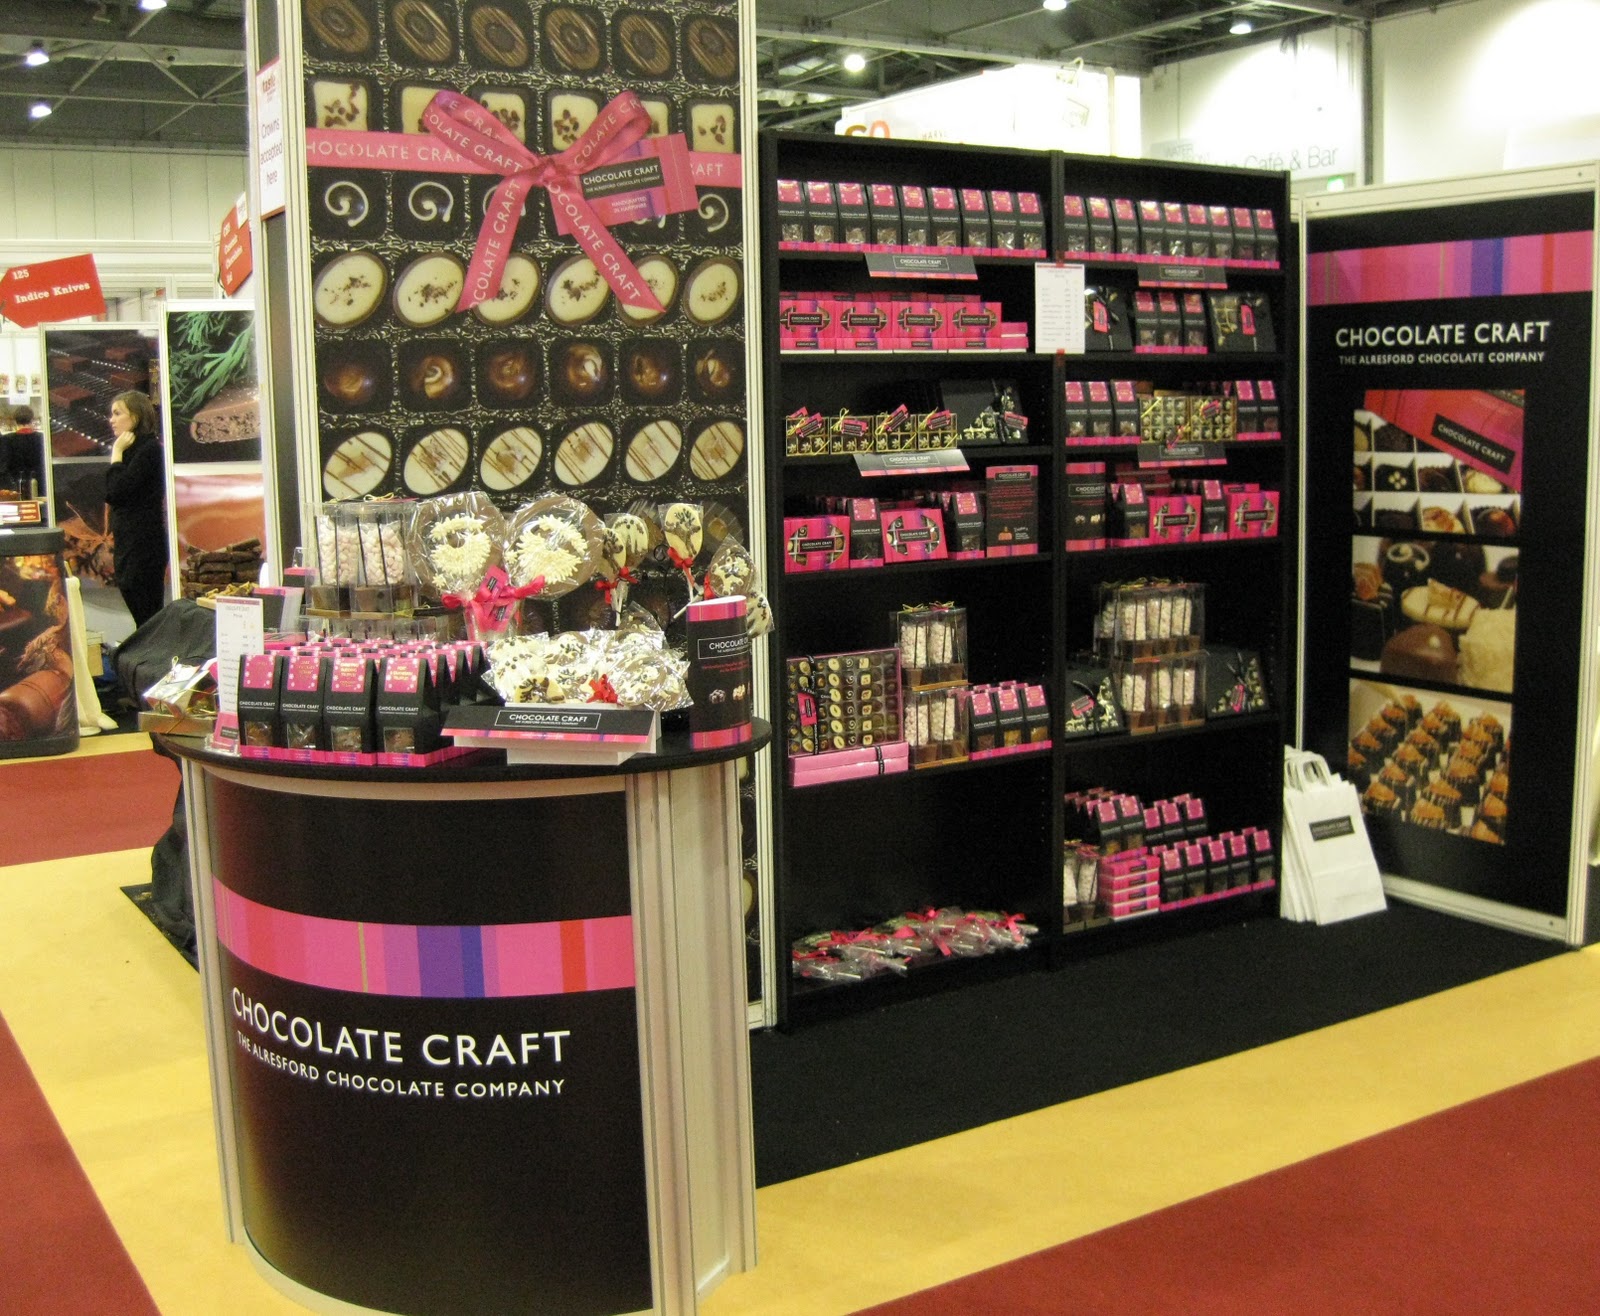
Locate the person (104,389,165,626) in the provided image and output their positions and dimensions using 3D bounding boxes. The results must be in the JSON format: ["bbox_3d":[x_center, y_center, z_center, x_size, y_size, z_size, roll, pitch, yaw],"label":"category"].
[{"bbox_3d":[-4.417,-0.977,9.015,0.366,1.539,0.420,-7,12,-26],"label":"person"}]

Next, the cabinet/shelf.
[{"bbox_3d":[0.771,-0.338,4.786,2.360,2.809,0.597,-7,12,-27],"label":"cabinet/shelf"}]
